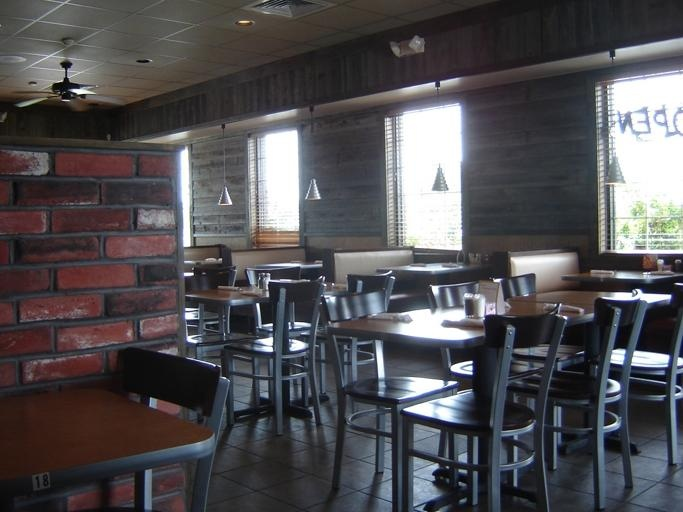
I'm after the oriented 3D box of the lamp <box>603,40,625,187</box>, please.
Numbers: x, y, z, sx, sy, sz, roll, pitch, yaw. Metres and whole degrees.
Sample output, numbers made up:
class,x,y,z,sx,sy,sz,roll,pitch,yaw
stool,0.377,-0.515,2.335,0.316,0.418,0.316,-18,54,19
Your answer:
class,x,y,z,sx,sy,sz,roll,pitch,yaw
lamp,2.786,-1.409,5.800,0.251,1.329,0.228,-14,13,-33

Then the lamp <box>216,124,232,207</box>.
class,x,y,z,sx,sy,sz,roll,pitch,yaw
lamp,-2.113,-1.595,10.442,0.243,1.380,0.976,-4,5,-12

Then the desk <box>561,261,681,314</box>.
class,x,y,z,sx,sy,sz,roll,pitch,yaw
desk,2.761,0.232,5.623,0.720,0.581,0.708,5,9,41

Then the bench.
class,x,y,z,sx,sy,sz,roll,pitch,yaw
bench,2.471,0.494,5.842,1.273,1.084,0.938,-4,4,-41

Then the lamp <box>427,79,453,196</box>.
class,x,y,z,sx,sy,sz,roll,pitch,yaw
lamp,1.217,-1.466,7.251,0.178,1.291,0.681,-2,5,11

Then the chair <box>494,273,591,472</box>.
class,x,y,z,sx,sy,sz,roll,pitch,yaw
chair,1.333,0.654,3.981,0.764,0.962,1.052,0,2,19

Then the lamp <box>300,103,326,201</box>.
class,x,y,z,sx,sy,sz,roll,pitch,yaw
lamp,-0.462,-1.520,8.876,0.274,1.318,0.968,-3,5,-3
